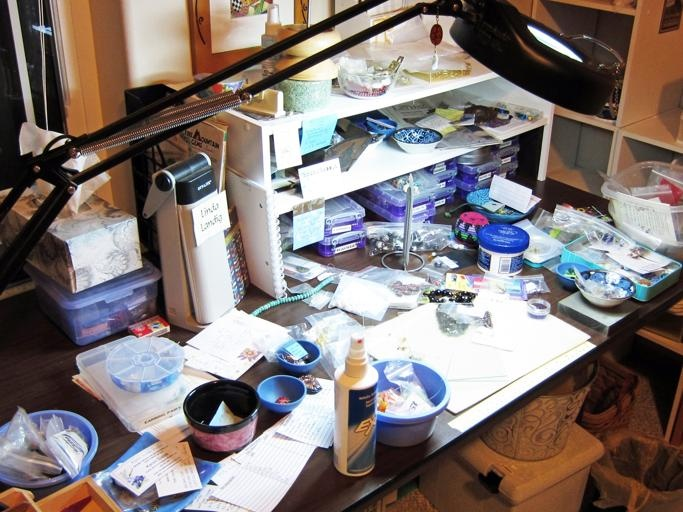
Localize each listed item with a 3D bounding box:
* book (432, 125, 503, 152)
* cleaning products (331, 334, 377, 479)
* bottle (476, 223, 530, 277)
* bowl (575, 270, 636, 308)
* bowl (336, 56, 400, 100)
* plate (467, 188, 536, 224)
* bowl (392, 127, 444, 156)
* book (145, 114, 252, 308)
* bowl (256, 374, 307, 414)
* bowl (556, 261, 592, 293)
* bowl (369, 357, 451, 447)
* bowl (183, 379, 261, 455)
[{"bbox_3d":[0.446,-0.460,1.798,0.154,0.034,0.149,-20,34,-31],"label":"book"},{"bbox_3d":[0.023,0.279,0.915,0.084,0.300,0.105,0,35,3],"label":"cleaning products"},{"bbox_3d":[0.466,-0.032,1.560,0.163,0.113,0.161,0,32,0],"label":"bottle"},{"bbox_3d":[0.736,0.089,1.406,0.132,0.055,0.103,-11,33,-18],"label":"bowl"},{"bbox_3d":[0.070,-0.566,1.539,0.173,0.080,0.172,-4,29,2],"label":"bowl"},{"bbox_3d":[0.547,-0.203,1.766,0.166,0.041,0.155,0,25,-8],"label":"plate"},{"bbox_3d":[0.258,-0.442,1.717,0.127,0.047,0.123,-1,35,1],"label":"bowl"},{"bbox_3d":[-0.323,-0.147,1.360,0.134,0.454,0.337,-24,16,-22],"label":"book"},{"bbox_3d":[-0.131,0.300,1.106,0.104,0.045,0.089,0,33,2],"label":"bowl"},{"bbox_3d":[0.679,0.039,1.482,0.090,0.050,0.087,2,20,-1],"label":"bowl"},{"bbox_3d":[0.117,0.296,1.022,0.179,0.064,0.159,8,34,8],"label":"bowl"},{"bbox_3d":[-0.240,0.329,1.016,0.144,0.076,0.140,4,25,-2],"label":"bowl"}]
